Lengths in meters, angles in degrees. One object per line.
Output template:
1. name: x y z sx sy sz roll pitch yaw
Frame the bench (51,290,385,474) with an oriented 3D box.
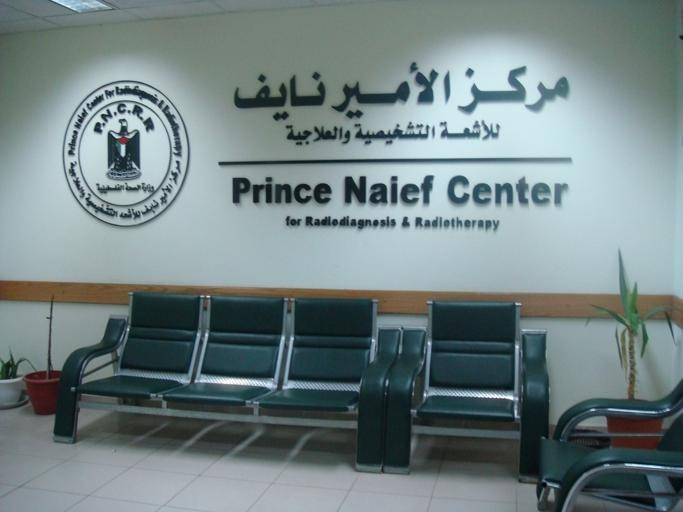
1. bench: -0.915 0.959 4.319 2.668 1.227 1.008 1 -2 10
